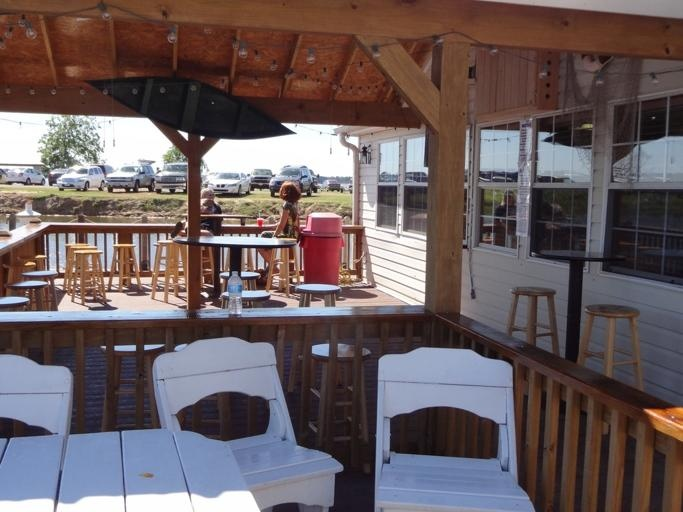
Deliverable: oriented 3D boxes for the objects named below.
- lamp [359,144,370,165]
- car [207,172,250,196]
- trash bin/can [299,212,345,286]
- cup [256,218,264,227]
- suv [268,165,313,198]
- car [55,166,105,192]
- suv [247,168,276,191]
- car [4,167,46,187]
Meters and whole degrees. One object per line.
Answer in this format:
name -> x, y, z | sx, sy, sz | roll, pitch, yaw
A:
lamp -> 0.482, -1.925, 11.747 | 0.301, 0.426, 0.317 | 0, 9, 3
car -> -4.498, -2.865, 25.830 | 1.361, 0.982, 3.064 | 0, 5, 2
trash bin/can -> -0.406, -0.101, 10.021 | 0.948, 1.451, 0.928 | 0, 2, -9
cup -> -1.311, -0.512, 9.919 | 0.139, 0.162, 0.124 | -1, 7, -6
suv -> -2.164, -3.015, 25.763 | 1.387, 1.321, 2.828 | 1, 5, 15
car -> -10.083, -2.923, 23.778 | 0.984, 0.786, 1.647 | 0, 3, 10
suv -> -3.319, -3.097, 25.556 | 0.934, 0.916, 2.039 | 0, 4, -4
car -> -14.536, -3.565, 27.883 | 1.092, 0.811, 2.068 | 2, 8, 18
